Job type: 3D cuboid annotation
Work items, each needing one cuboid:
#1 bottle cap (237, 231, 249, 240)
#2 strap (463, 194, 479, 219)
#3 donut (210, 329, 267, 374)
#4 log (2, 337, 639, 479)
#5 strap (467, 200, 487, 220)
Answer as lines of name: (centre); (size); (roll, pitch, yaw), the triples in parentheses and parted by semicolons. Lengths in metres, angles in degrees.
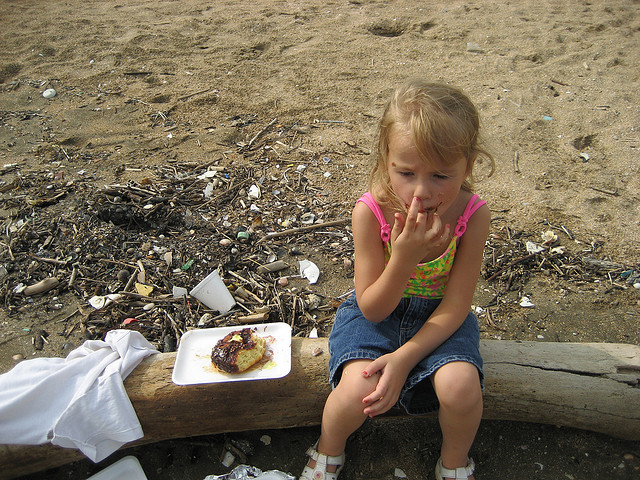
bottle cap: (-0.667, -0.042, 4.472); (0.074, 0.045, 0.069); (-3, 2, -20)
strap: (0.954, -0.218, 3.308); (0.032, 0.130, 0.109); (38, 7, 10)
donut: (-0.543, 0.725, 3.445); (0.284, 0.104, 0.279); (22, 40, 31)
log: (0.012, 1.099, 3.341); (4.680, 0.547, 0.592); (-3, 27, 5)
strap: (0.979, -0.204, 3.305); (0.102, 0.123, 0.030); (-5, 58, -42)
